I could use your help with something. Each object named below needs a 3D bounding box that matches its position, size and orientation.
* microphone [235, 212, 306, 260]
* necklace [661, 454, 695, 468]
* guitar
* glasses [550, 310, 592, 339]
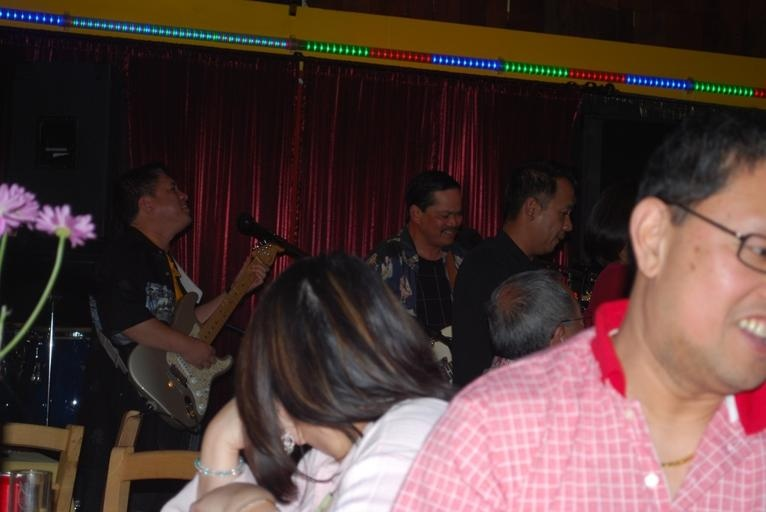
[{"bbox_3d":[-0.831,-0.146,4.379,0.111,0.399,0.115,-49,9,43],"label":"microphone"},{"bbox_3d":[0.584,0.402,1.202,0.058,0.014,0.019,-7,-21,-18],"label":"necklace"},{"bbox_3d":[-0.982,0.408,3.239,0.172,0.446,1.264,-28,21,36],"label":"guitar"},{"bbox_3d":[0.708,0.264,2.320,0.137,0.046,0.140,-29,-8,38],"label":"glasses"}]
